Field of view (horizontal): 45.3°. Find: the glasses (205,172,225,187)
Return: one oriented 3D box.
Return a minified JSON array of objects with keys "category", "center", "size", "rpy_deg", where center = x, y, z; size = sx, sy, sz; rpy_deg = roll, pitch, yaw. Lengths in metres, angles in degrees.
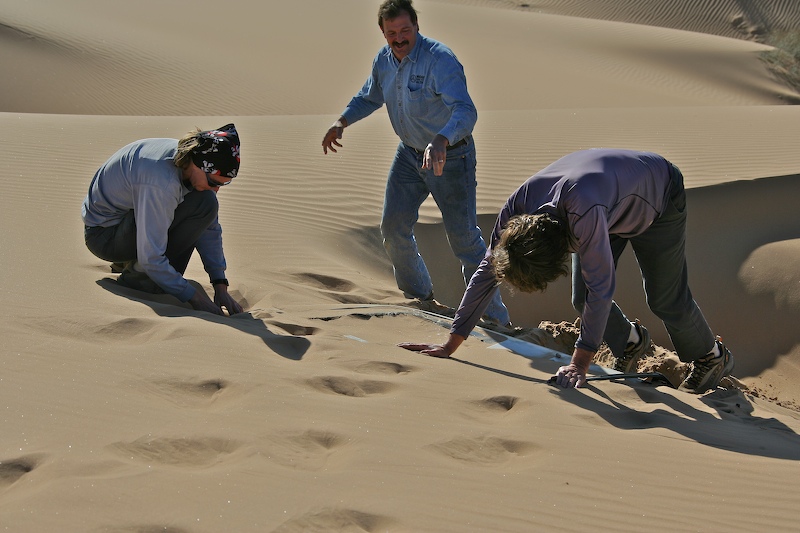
[{"category":"glasses","center":[-1.502,-0.705,7.852],"size":[0.086,0.112,0.037],"rpy_deg":[26,68,3]}]

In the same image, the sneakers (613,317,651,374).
[{"category":"sneakers","center":[2.008,0.745,8.323],"size":[0.256,0.550,0.197],"rpy_deg":[0,32,-17]}]

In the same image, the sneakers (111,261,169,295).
[{"category":"sneakers","center":[-2.248,0.133,8.250],"size":[0.441,0.203,0.268],"rpy_deg":[28,-5,-8]}]

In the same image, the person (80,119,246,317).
[{"category":"person","center":[-1.971,-0.317,7.985],"size":[1.265,1.625,0.995],"rpy_deg":[-2,31,-14]}]

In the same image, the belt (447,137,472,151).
[{"category":"belt","center":[0.541,-1.113,8.647],"size":[0.170,0.057,0.120],"rpy_deg":[-30,7,-13]}]
